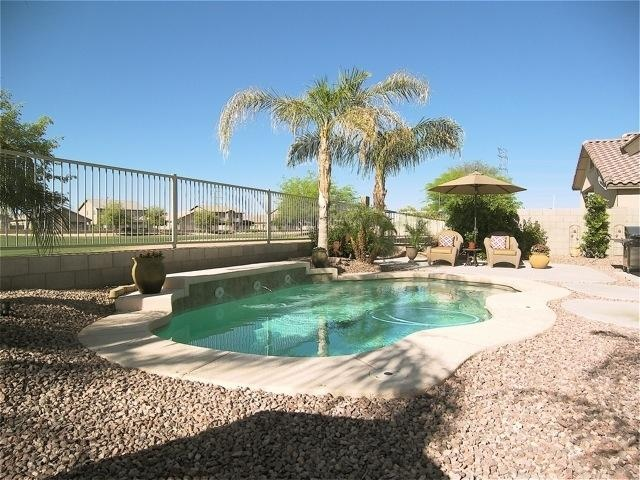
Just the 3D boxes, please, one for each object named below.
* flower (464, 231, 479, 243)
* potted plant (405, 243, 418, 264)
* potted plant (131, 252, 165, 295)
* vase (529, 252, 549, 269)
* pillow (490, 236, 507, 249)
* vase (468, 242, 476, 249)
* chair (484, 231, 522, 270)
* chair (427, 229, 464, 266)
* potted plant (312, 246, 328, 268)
[{"bbox_3d":[6.224,-0.105,16.135,0.506,0.378,0.512,-2,1,40],"label":"flower"},{"bbox_3d":[3.502,0.508,15.137,0.543,0.573,0.558,0,-5,-4],"label":"potted plant"},{"bbox_3d":[-3.272,0.653,7.486,0.724,0.887,0.732,-1,-5,-22],"label":"potted plant"},{"bbox_3d":[7.123,0.673,12.677,0.496,0.400,0.552,0,0,23],"label":"vase"},{"bbox_3d":[6.237,0.105,13.658,0.429,0.424,0.141,-2,-19,33],"label":"pillow"},{"bbox_3d":[5.659,0.218,14.563,0.348,0.270,0.284,-1,1,21],"label":"vase"},{"bbox_3d":[6.250,0.371,13.482,1.094,1.196,1.345,1,0,12],"label":"chair"},{"bbox_3d":[4.567,0.270,14.275,1.032,1.321,1.214,-6,-4,34],"label":"chair"},{"bbox_3d":[-0.004,0.549,11.333,0.487,0.596,0.502,-1,0,16],"label":"potted plant"}]
